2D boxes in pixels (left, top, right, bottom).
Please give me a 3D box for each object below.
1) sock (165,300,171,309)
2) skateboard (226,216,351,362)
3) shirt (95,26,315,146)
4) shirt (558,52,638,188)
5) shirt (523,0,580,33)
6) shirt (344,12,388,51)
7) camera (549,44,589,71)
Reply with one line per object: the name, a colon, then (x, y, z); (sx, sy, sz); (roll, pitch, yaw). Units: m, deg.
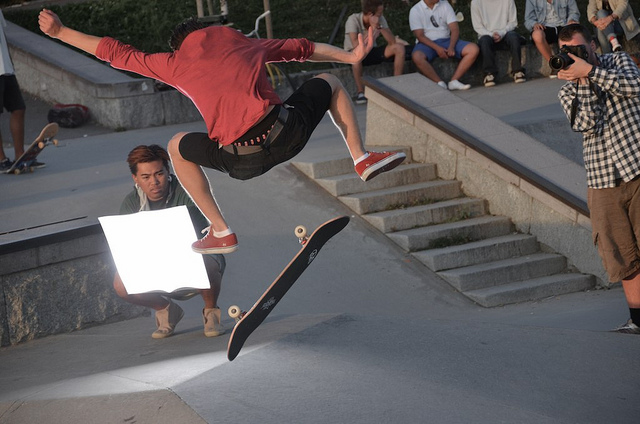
sock: (-1.520, 0.922, 8.178); (0.024, 0.077, 0.087); (-4, 16, 29)
skateboard: (-0.338, 0.823, 8.323); (0.206, 0.356, 1.459); (37, 76, 30)
shirt: (-0.981, -1.158, 7.471); (1.717, 1.101, 0.546); (-7, 16, 11)
shirt: (2.790, -0.869, 7.766); (0.611, 1.235, 0.473); (-19, 16, -23)
shirt: (3.975, -3.426, 14.146); (0.897, 0.521, 0.521); (-7, 15, 14)
shirt: (0.568, -2.977, 13.553); (0.406, 0.573, 0.542); (-11, 14, 4)
camera: (2.351, -1.418, 7.763); (0.350, 0.195, 0.332); (-6, 2, -2)
